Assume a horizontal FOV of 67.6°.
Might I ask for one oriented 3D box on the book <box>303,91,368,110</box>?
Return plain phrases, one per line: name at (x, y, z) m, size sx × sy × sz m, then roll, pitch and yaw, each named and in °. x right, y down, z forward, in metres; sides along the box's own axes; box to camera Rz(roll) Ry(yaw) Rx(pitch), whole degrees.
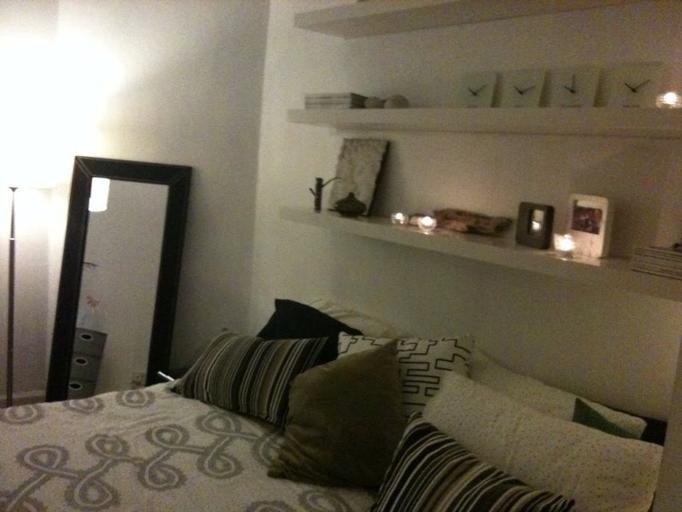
book at (-0.029, -0.716, 2.391) m, size 0.338 × 0.086 × 0.099 m, roll 7°, pitch 7°, yaw 31°
